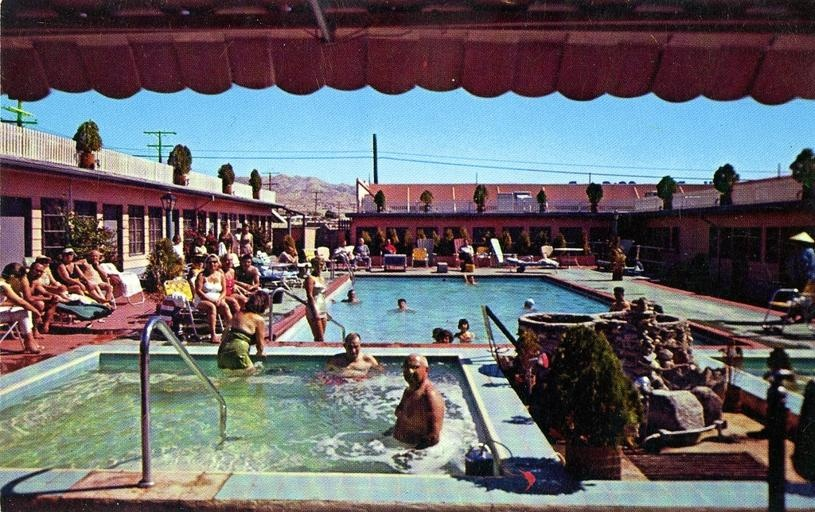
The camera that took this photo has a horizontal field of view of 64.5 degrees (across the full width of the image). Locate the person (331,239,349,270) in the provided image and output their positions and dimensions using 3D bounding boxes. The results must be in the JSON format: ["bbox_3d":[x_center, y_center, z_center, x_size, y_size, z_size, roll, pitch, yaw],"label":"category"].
[{"bbox_3d":[-2.939,-0.050,28.298,0.560,1.013,1.432,-4,5,-5],"label":"person"}]

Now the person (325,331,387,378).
[{"bbox_3d":[-0.862,1.568,10.481,0.872,0.637,0.461,4,10,-1],"label":"person"}]

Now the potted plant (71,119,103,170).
[{"bbox_3d":[-9.380,-3.265,18.964,0.773,1.472,2.693,-3,3,-26],"label":"potted plant"}]

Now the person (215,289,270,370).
[{"bbox_3d":[-2.650,1.187,10.400,0.821,1.249,0.517,-2,3,-7],"label":"person"}]

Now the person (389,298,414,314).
[{"bbox_3d":[-0.145,1.280,17.872,0.750,0.378,0.312,0,-32,1],"label":"person"}]

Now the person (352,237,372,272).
[{"bbox_3d":[-2.006,-0.065,27.951,0.883,1.640,0.973,7,-18,-28],"label":"person"}]

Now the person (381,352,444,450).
[{"bbox_3d":[0.108,1.849,8.406,0.663,1.215,0.424,1,4,43],"label":"person"}]

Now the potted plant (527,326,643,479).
[{"bbox_3d":[2.222,1.683,7.630,0.941,1.662,0.757,-2,3,-12],"label":"potted plant"}]
